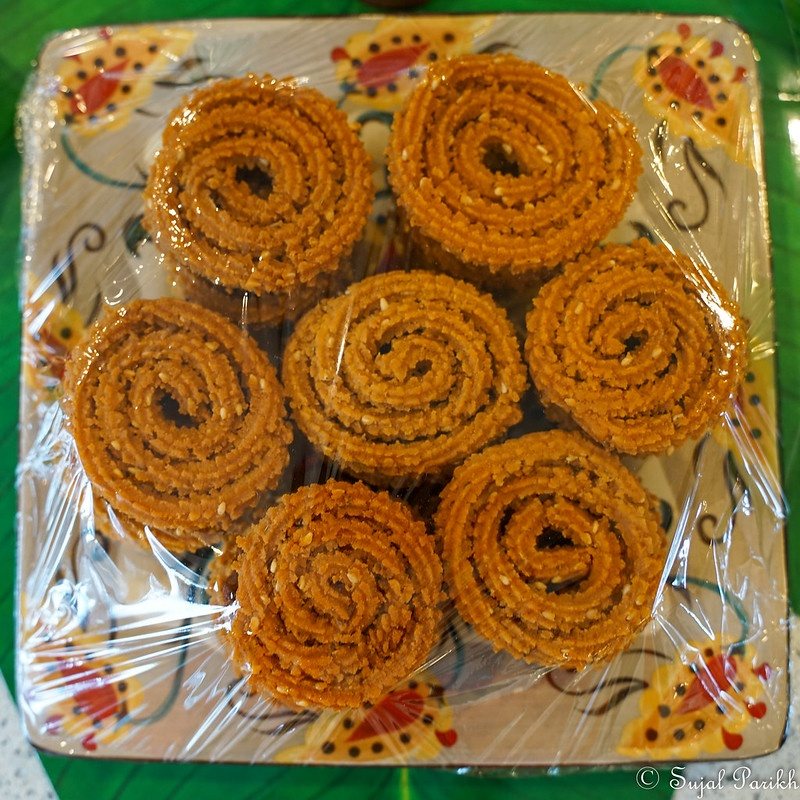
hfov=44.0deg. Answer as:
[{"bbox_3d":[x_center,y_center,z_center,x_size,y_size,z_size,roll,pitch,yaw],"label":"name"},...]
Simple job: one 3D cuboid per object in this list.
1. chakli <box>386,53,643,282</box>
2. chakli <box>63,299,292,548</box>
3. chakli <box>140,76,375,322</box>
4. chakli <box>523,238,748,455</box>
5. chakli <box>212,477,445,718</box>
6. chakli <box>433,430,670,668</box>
[{"bbox_3d":[0.133,-0.285,1.170,0.306,0.053,0.276,31,84,4],"label":"chakli"},{"bbox_3d":[-0.252,0.015,1.135,0.247,0.080,0.292,-35,84,-4],"label":"chakli"},{"bbox_3d":[-0.171,-0.224,1.212,0.266,0.125,0.334,-5,56,11],"label":"chakli"},{"bbox_3d":[0.263,-0.013,1.168,0.228,0.136,0.335,-8,39,0],"label":"chakli"},{"bbox_3d":[-0.056,0.246,1.101,0.224,0.119,0.273,24,38,4],"label":"chakli"},{"bbox_3d":[0.168,0.165,1.120,0.270,0.077,0.261,26,84,4],"label":"chakli"}]
